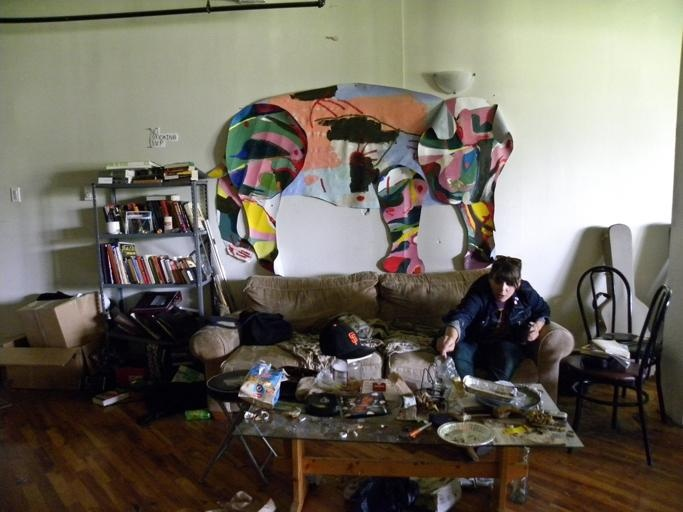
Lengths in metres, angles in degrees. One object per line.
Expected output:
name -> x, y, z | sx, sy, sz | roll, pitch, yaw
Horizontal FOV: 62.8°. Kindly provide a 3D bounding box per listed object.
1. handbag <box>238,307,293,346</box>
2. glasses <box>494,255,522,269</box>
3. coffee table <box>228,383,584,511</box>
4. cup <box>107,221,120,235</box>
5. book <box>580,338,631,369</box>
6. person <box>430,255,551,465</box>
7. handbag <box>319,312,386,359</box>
handbag -> -0.582, 0.543, 4.291 | 0.399, 0.217, 0.266 | -5, 13, -10
glasses -> 1.147, 0.032, 3.882 | 0.135, 0.132, 0.039 | -1, 24, 11
coffee table -> 0.366, 1.160, 3.275 | 1.822, 0.681, 0.602 | -1, 13, 7
cup -> -1.838, -0.230, 4.559 | 0.112, 0.112, 0.111 | 2, 5, 0
book -> 1.776, 0.659, 3.752 | 0.232, 0.080, 0.219 | -1, 13, 0
person -> 0.970, 0.608, 3.935 | 0.745, 1.148, 1.144 | 14, 12, 28
handbag -> 0.060, 0.502, 3.545 | 0.363, 0.189, 0.243 | 0, 12, 16
